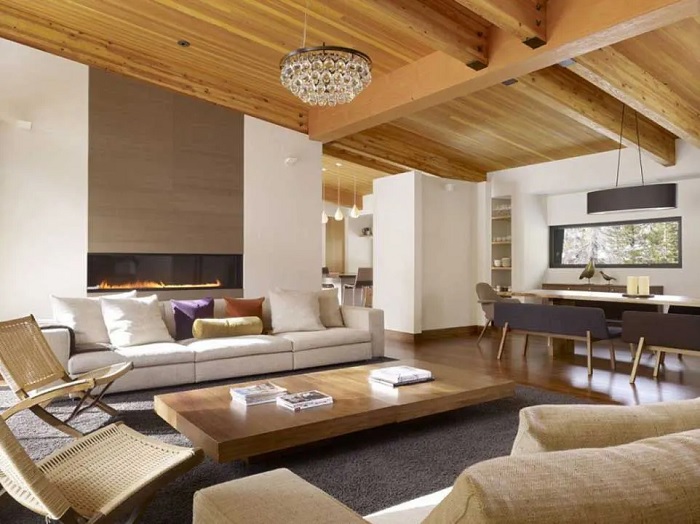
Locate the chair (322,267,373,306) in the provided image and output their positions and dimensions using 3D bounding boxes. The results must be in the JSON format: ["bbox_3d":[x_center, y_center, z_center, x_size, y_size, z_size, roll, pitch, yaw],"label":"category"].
[{"bbox_3d":[0.122,0.559,12.022,1.280,1.195,1.000,1,1,-38],"label":"chair"}]

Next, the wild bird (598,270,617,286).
[{"bbox_3d":[4.360,0.239,8.392,0.144,0.246,0.251,0,2,-14],"label":"wild bird"}]

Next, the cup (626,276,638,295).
[{"bbox_3d":[3.331,0.276,5.828,0.111,0.206,0.194,2,3,30],"label":"cup"}]

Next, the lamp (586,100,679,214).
[{"bbox_3d":[3.702,-1.324,6.695,1.082,1.345,1.870,1,2,10],"label":"lamp"}]

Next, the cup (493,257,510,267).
[{"bbox_3d":[2.640,0.007,8.631,0.194,0.081,0.184,-1,-4,0],"label":"cup"}]

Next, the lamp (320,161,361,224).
[{"bbox_3d":[0.060,-1.680,13.532,1.598,1.520,1.438,0,-4,-8],"label":"lamp"}]

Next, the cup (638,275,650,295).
[{"bbox_3d":[3.380,0.273,5.705,0.092,0.202,0.121,1,3,20],"label":"cup"}]
